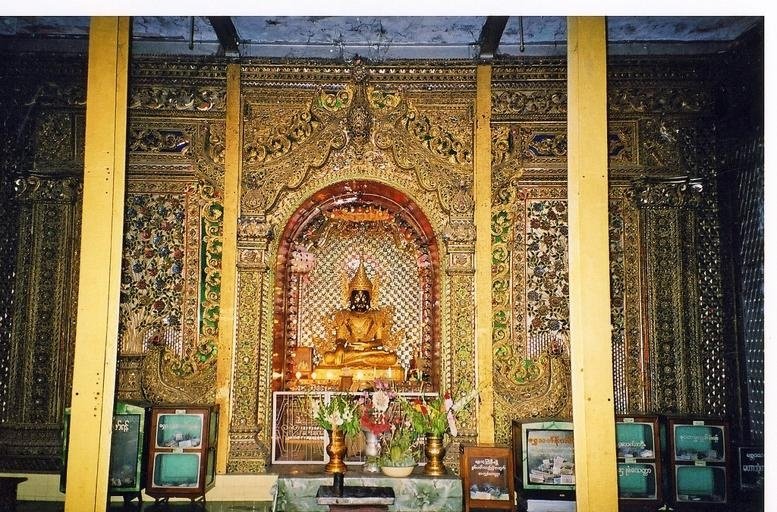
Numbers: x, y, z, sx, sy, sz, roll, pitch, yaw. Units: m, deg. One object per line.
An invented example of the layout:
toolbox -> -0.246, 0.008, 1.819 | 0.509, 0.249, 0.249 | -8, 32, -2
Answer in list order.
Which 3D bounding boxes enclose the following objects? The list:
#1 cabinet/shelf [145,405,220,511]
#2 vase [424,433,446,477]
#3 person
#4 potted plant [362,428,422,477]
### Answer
cabinet/shelf -> -2.164, 2.080, 11.867 | 0.969, 1.283, 0.677 | 0, -16, -5
vase -> 0.468, 2.005, 11.665 | 0.215, 0.434, 0.331 | 0, -13, 2
person -> -0.325, 0.688, 13.429 | 0.928, 1.280, 0.348 | 1, -13, -1
potted plant -> 0.008, 2.016, 11.777 | 0.450, 0.495, 0.763 | 5, -14, -17
